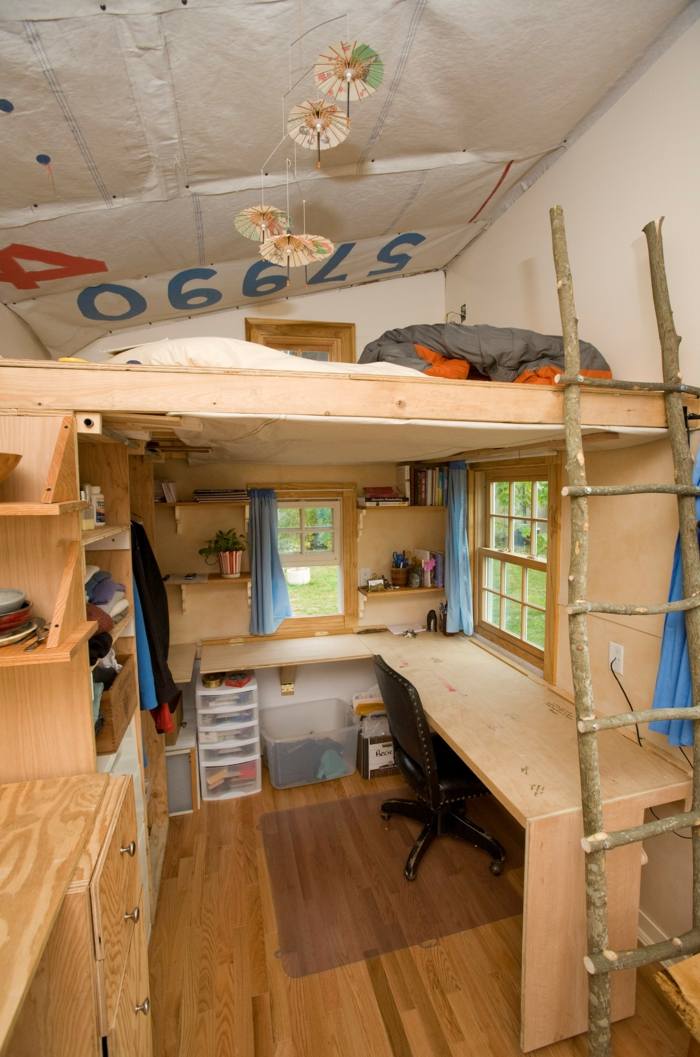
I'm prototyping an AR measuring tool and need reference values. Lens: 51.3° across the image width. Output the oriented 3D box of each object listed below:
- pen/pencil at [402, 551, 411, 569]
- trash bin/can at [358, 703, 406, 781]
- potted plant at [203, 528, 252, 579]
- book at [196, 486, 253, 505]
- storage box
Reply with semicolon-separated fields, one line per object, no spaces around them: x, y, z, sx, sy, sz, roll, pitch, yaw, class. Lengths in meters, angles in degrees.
0.337;0.181;4.197;0.027;0.109;0.018;9;-15;-42;pen/pencil
0.150;1.085;3.899;0.258;0.369;0.357;-2;5;-12;trash bin/can
-0.618;0.120;3.745;0.212;0.240;0.242;2;-5;-31;potted plant
-0.643;-0.169;3.741;0.286;0.055;0.175;-3;13;-9;book
-0.188;1.100;3.775;0.461;0.247;0.328;-3;4;-15;storage box
